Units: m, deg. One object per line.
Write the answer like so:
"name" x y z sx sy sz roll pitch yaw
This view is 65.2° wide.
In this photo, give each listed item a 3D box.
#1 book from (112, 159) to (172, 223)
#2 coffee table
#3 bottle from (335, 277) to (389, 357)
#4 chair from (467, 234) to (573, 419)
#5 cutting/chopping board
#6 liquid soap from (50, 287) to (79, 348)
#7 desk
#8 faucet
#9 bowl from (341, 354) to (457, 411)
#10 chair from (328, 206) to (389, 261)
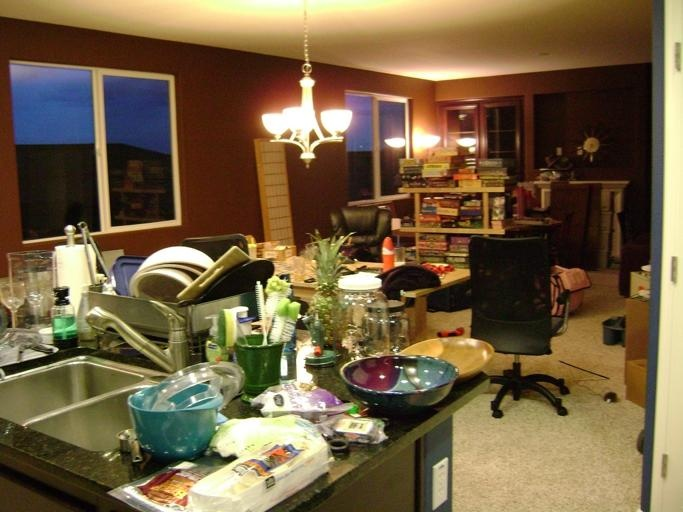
"book" -2.251 -0.712 5.963 0.829 0.604 0.199 -1 -1 -26
"coffee table" 0.581 0.374 4.781 1.335 0.470 0.867 3 8 37
"bottle" 0.081 0.228 2.036 0.182 0.322 0.137 -2 15 7
"chair" 1.269 0.493 3.822 0.684 1.329 0.488 0 16 16
"cutting/chopping board" -0.509 0.059 2.122 0.332 0.195 0.164 -8 15 -23
"liquid soap" -1.241 0.262 2.354 0.114 0.259 0.198 -11 16 -22
"desk" 3.727 -0.448 8.149 1.981 1.333 1.020 1 11 20
"faucet" -0.783 0.283 2.079 0.227 0.260 0.586 -14 17 -37
"bowl" 0.175 0.398 1.660 0.360 0.100 0.263 -1 12 7
"chair" 0.235 -0.332 7.410 1.208 0.792 0.797 0 -3 7
